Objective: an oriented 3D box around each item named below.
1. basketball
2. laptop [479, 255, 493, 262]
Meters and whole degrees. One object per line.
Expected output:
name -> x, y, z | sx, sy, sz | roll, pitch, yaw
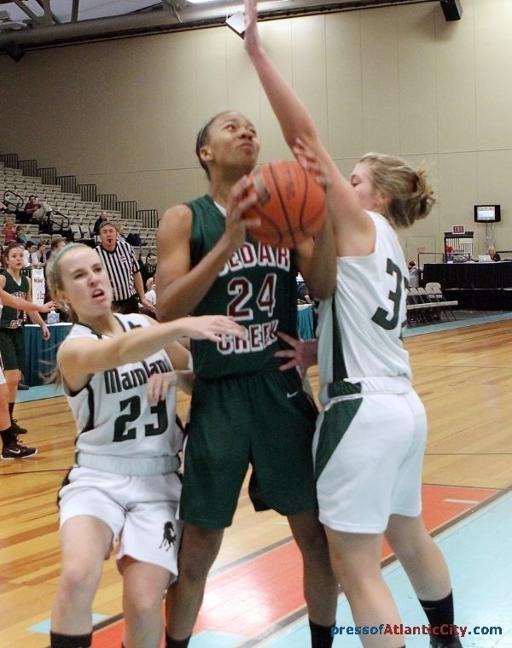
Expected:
basketball -> 0.055, -0.229, 0.895 | 0.160, 0.168, 0.117 | -6, 8, -9
laptop -> 7.980, -2.300, 16.655 | 0.403, 0.242, 0.698 | -1, 9, 26
